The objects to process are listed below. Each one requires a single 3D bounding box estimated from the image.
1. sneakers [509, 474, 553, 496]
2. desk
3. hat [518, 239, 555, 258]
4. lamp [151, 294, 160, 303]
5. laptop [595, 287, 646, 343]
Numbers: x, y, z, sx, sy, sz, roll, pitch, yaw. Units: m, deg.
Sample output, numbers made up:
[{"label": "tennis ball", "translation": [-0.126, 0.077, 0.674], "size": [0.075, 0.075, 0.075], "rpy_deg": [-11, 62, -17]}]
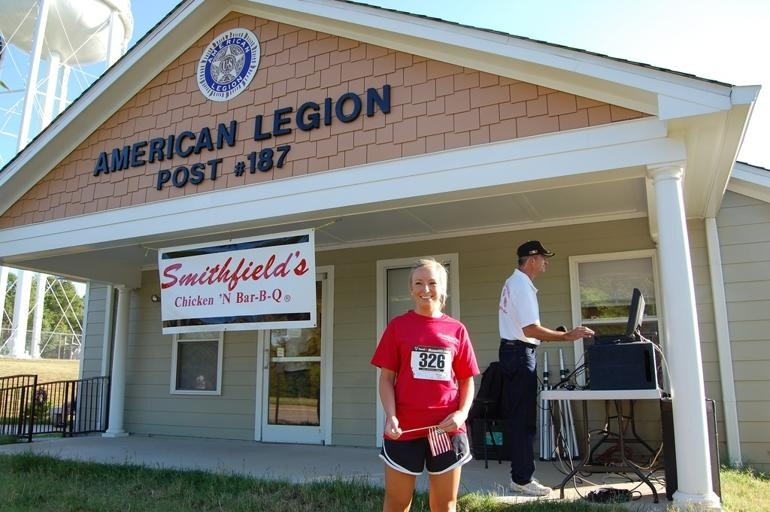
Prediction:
[{"label": "sneakers", "translation": [1.732, 2.715, 7.396], "size": [0.483, 0.210, 0.187], "rpy_deg": [0, -8, 11]}, {"label": "desk", "translation": [2.971, 2.280, 8.195], "size": [1.273, 1.318, 2.955], "rpy_deg": [-3, -7, 23]}, {"label": "hat", "translation": [1.891, -0.084, 7.753], "size": [0.405, 0.226, 0.259], "rpy_deg": [-6, -2, 2]}, {"label": "lamp", "translation": [-4.771, 0.861, 12.875], "size": [0.275, 0.176, 0.065], "rpy_deg": [-5, -8, 36]}, {"label": "laptop", "translation": [2.926, 0.754, 7.607], "size": [0.502, 0.718, 0.572], "rpy_deg": [-4, 0, 11]}]
